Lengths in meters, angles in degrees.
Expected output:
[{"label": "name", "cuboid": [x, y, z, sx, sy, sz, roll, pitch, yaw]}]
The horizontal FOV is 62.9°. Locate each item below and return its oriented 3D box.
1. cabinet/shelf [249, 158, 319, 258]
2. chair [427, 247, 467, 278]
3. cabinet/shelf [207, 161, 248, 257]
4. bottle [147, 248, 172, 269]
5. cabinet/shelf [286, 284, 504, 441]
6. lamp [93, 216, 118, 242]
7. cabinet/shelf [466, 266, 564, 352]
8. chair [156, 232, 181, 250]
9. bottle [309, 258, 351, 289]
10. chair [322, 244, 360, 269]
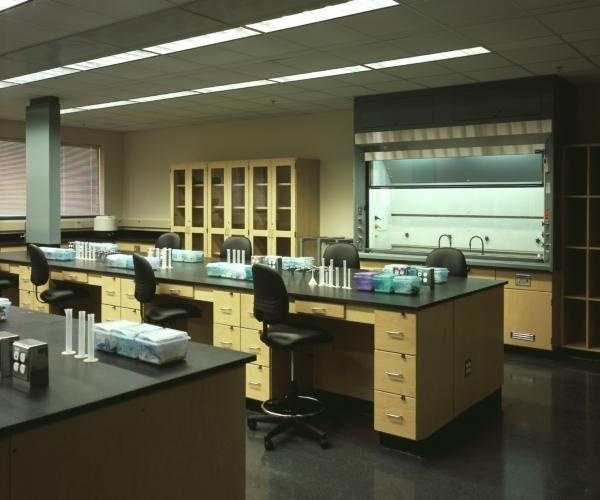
[{"label": "cabinet/shelf", "cuboid": [-0.193, -0.625, 7.255, 1.005, 1.442, 0.531, 0, 3, -2]}, {"label": "chair", "cuboid": [1.324, 0.127, 4.403, 0.270, 0.357, 0.302, -3, -3, 34]}, {"label": "cabinet/shelf", "cuboid": [-1.097, -0.426, 7.740, 0.772, 1.840, 0.251, -1, -3, 21]}, {"label": "bottle", "cuboid": [-1.418, 0.085, 4.971, 0.213, 0.282, 0.297, -2, 4, -40]}, {"label": "cabinet/shelf", "cuboid": [0.749, 0.728, 3.699, 1.086, 0.929, 1.293, 3, 5, 37]}, {"label": "lamp", "cuboid": [-3.611, -0.385, 9.224, 0.480, 0.560, 0.486, 1, 0, 5]}, {"label": "cabinet/shelf", "cuboid": [2.072, 0.553, 4.661, 0.949, 0.898, 0.338, 1, 1, 36]}, {"label": "chair", "cuboid": [-1.628, -0.112, 6.144, 0.215, 0.289, 0.254, 0, 0, 8]}, {"label": "bottle", "cuboid": [0.268, 0.195, 3.924, 0.155, 0.177, 0.433, 2, 6, 14]}, {"label": "chair", "cuboid": [0.410, 0.081, 4.907, 0.263, 0.348, 0.283, -1, -3, 18]}]
